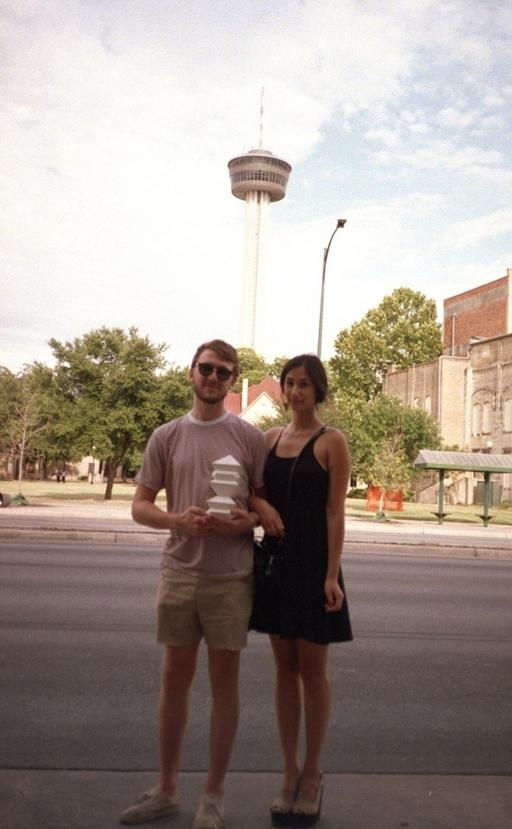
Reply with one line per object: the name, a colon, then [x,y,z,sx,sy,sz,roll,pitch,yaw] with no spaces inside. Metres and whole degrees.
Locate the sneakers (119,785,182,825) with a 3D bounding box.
sneakers: [-0.391,1.451,2.612,0.167,0.085,0.229,1,-2,9]

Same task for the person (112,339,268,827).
person: [-0.221,0.623,2.926,0.590,1.922,0.763,1,-2,-10]
